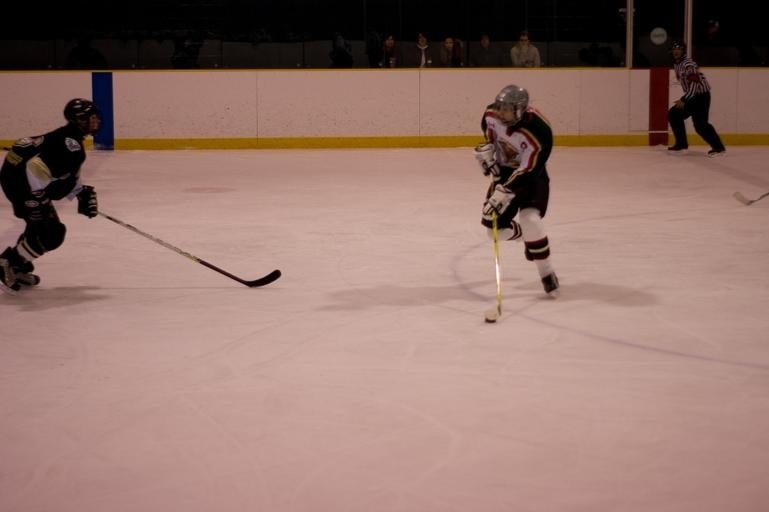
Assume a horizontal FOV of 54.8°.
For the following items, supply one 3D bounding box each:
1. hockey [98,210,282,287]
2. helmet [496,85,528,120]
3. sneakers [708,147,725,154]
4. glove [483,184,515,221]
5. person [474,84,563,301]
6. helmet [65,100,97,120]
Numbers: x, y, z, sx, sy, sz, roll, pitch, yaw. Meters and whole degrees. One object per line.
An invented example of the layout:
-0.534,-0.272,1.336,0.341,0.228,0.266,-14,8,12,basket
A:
-1.457,-0.038,5.546,1.006,0.072,0.299,22,34,0,hockey
0.762,-0.893,4.371,0.145,0.211,0.234,6,14,29,helmet
4.758,-1.506,10.639,0.218,0.125,0.219,3,12,15,sneakers
0.677,-0.317,4.433,0.096,0.219,0.154,20,34,-53,glove
0.814,-0.407,4.580,0.505,1.243,0.465,0,13,5,person
-1.854,-0.899,4.568,0.164,0.124,0.229,2,12,12,helmet
